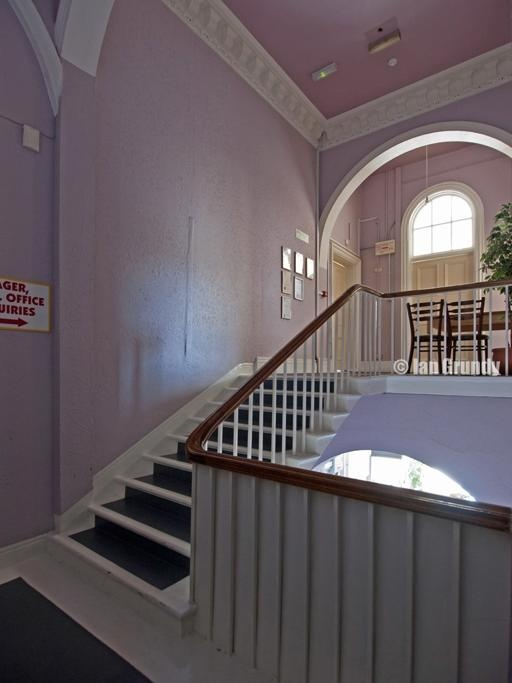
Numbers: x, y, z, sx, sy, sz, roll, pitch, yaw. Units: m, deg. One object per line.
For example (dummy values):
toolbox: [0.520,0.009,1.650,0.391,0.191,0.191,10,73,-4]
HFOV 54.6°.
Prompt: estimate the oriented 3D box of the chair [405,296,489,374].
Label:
chair: [1.955,-0.068,5.049,0.657,1.191,0.638,1,3,40]
